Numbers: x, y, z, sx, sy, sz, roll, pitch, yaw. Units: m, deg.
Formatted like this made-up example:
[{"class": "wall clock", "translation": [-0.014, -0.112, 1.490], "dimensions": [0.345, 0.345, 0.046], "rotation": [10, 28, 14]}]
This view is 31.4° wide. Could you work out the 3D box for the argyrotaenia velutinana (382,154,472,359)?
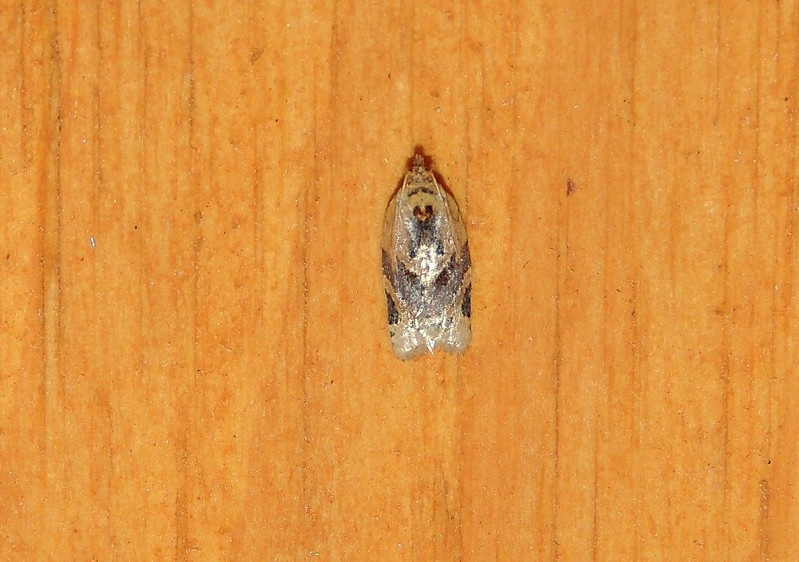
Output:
[{"class": "argyrotaenia velutinana", "translation": [0.243, -0.350, 12.913], "dimensions": [0.695, 0.448, 1.927], "rotation": [-4, 96, 2]}]
